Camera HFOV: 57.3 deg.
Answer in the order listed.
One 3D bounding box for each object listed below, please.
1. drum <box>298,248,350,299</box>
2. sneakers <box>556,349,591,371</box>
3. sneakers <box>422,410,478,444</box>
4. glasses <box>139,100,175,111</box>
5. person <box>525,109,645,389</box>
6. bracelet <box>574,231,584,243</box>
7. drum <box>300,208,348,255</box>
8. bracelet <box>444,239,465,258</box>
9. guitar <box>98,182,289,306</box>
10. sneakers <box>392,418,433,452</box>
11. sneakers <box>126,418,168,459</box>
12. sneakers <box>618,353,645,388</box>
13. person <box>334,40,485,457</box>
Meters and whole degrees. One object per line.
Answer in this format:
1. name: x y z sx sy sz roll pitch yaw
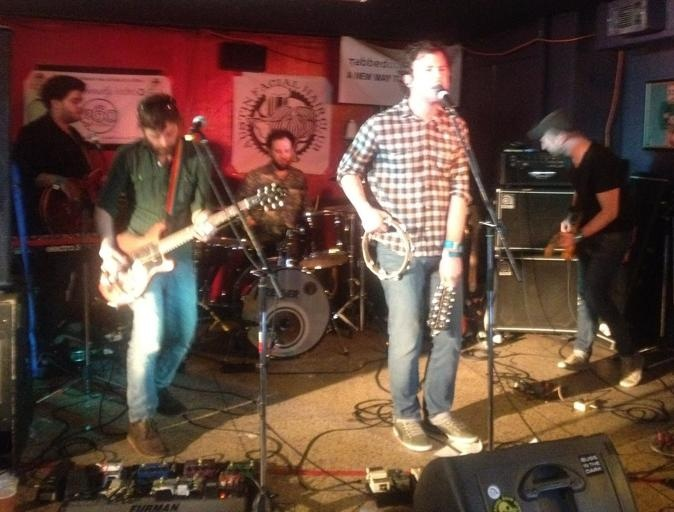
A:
1. drum: -0.089 0.175 5.353 0.495 0.369 0.433 -2 11 2
2. sneakers: 1.976 0.839 5.021 0.343 0.128 0.114 3 0 -21
3. sneakers: 0.690 1.019 3.733 0.348 0.127 0.124 12 46 43
4. glasses: -1.024 -0.846 3.507 0.204 0.048 0.072 -3 7 -15
5. person: 1.940 -0.090 4.781 0.860 2.059 0.591 1 8 15
6. bracelet: 1.806 -0.133 4.620 0.077 0.074 0.076 -5 10 -21
7. drum: -0.043 -0.206 5.381 0.389 0.369 0.400 -2 5 27
8. bracelet: 0.678 -0.040 3.572 0.103 0.068 0.099 8 -6 24
9. guitar: -0.963 -0.041 4.091 1.214 0.365 0.162 -28 3 -2
10. sneakers: 0.451 1.059 3.696 0.125 0.105 0.288 -2 -5 -20
11. sneakers: -1.133 1.087 3.667 0.176 0.068 0.279 -16 28 -40
12. sneakers: 2.215 0.840 4.639 0.155 0.241 0.246 2 8 25
13. person: 0.434 -0.008 3.550 0.779 2.345 0.384 -1 8 -1
